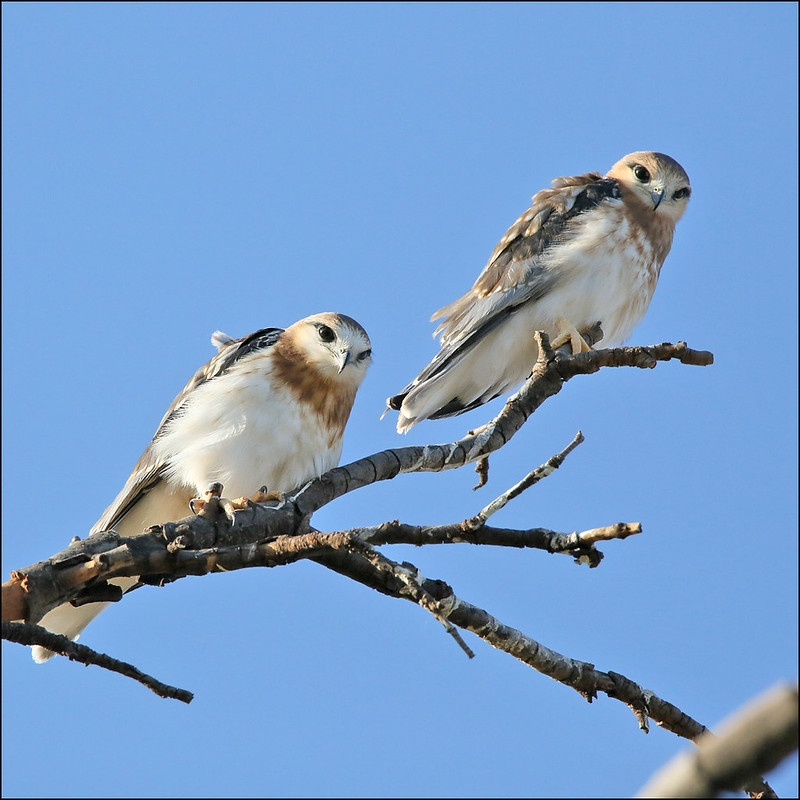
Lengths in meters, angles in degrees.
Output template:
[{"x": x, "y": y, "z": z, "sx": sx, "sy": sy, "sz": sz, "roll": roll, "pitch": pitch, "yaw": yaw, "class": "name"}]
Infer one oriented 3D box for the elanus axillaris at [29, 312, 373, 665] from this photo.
[{"x": -0.703, "y": 0.221, "z": 7.283, "sx": 1.378, "sy": 0.926, "sz": 0.583, "roll": -21, "pitch": -34, "yaw": 31, "class": "elanus axillaris"}]
